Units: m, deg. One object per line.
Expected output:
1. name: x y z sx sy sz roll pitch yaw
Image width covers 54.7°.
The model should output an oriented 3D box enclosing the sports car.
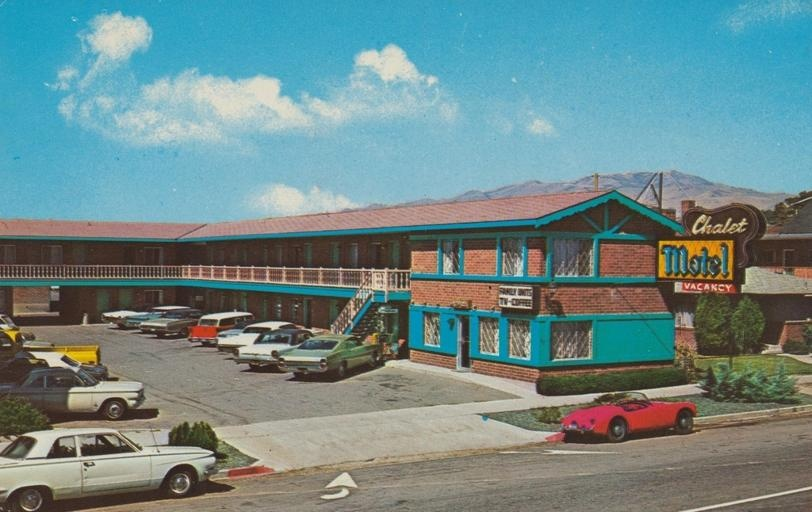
1. sports car: 9.581 7.070 34.095 7.177 1.709 2.872 0 -2 -15
